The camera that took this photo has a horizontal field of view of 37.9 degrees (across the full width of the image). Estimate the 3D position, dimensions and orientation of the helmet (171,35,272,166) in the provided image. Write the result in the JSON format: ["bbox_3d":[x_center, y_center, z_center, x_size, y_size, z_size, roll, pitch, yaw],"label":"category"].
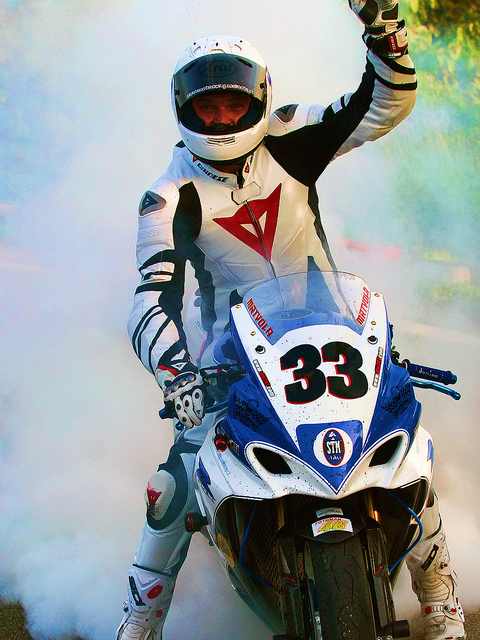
[{"bbox_3d":[-0.063,-0.832,2.640,0.355,0.409,0.481,-2,26,4],"label":"helmet"}]
